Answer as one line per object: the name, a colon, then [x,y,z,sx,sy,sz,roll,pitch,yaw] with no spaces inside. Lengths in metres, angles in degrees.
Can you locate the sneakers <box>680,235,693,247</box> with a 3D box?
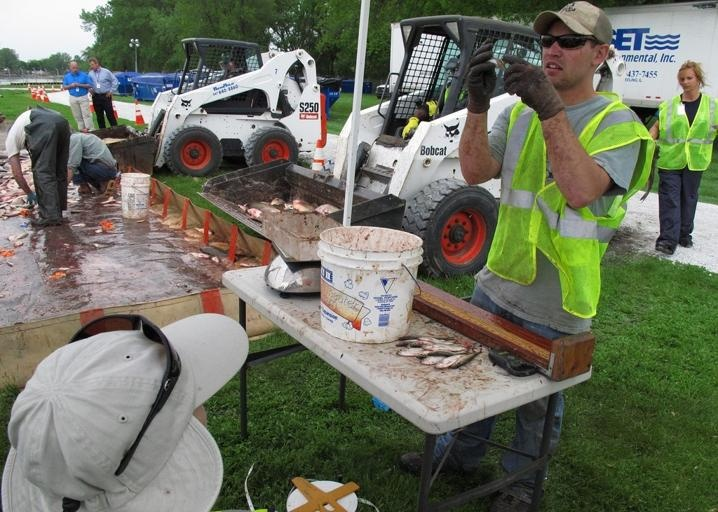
sneakers: [4.452,-0.212,7.006,0.107,0.078,0.192,10,18,2]

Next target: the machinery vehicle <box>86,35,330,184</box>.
machinery vehicle: [-2.484,-3.102,10.986,3.765,2.634,2.858,-1,14,-5]

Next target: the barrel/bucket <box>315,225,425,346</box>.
barrel/bucket: [0.035,0.165,2.613,0.548,0.454,0.552,2,20,-1]

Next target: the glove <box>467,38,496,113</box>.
glove: [0.601,-0.872,2.528,0.133,0.337,0.182,6,16,10]

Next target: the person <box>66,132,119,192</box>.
person: [-4.468,-1.540,8.550,0.754,0.975,0.501,-10,20,-40]

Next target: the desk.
desk: [0.146,0.756,3.001,2.042,1.212,1.237,16,20,38]

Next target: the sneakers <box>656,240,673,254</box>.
sneakers: [3.959,-0.120,6.655,0.192,0.103,0.146,23,-2,-31]

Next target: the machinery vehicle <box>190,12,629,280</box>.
machinery vehicle: [0.609,-1.514,6.370,2.381,2.446,4.628,28,36,32]

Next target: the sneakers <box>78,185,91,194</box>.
sneakers: [-4.671,-1.138,8.739,0.192,0.199,0.125,3,6,-3]

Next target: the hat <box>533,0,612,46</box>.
hat: [1.030,-1.130,2.466,0.366,0.211,0.257,9,17,19]

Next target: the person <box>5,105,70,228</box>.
person: [-4.274,-1.222,6.945,0.728,1.525,0.784,-11,21,-42]
